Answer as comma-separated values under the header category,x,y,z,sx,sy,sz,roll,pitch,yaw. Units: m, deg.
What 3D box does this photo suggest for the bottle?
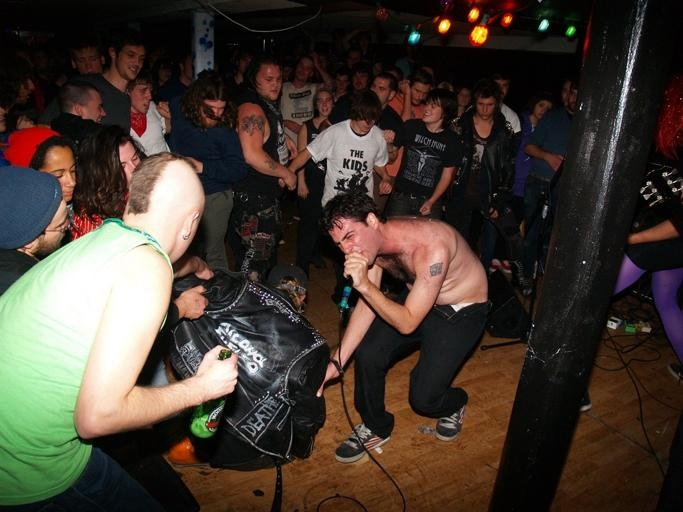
category,x,y,z,sx,sy,sz,roll,pitch,yaw
bottle,-0.609,0.609,2.288,0.160,0.616,0.160,12,49,-15

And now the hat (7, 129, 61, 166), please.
category,x,y,z,sx,sy,sz,roll,pitch,yaw
hat,-1.901,-0.670,3.077,0.241,0.100,0.301,19,50,-4

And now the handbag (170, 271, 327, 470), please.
category,x,y,z,sx,sy,sz,roll,pitch,yaw
handbag,-0.521,0.684,2.978,0.836,0.539,0.931,19,52,16

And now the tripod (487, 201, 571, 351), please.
category,x,y,z,sx,sy,sz,roll,pitch,yaw
tripod,1.641,0.230,4.713,0.744,0.862,1.094,3,72,-14

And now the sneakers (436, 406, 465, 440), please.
category,x,y,z,sx,sy,sz,roll,pitch,yaw
sneakers,0.835,1.211,3.727,0.112,0.152,0.337,9,23,34

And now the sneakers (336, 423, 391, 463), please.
category,x,y,z,sx,sy,sz,roll,pitch,yaw
sneakers,0.117,1.310,3.430,0.477,0.196,0.164,-3,38,-41
